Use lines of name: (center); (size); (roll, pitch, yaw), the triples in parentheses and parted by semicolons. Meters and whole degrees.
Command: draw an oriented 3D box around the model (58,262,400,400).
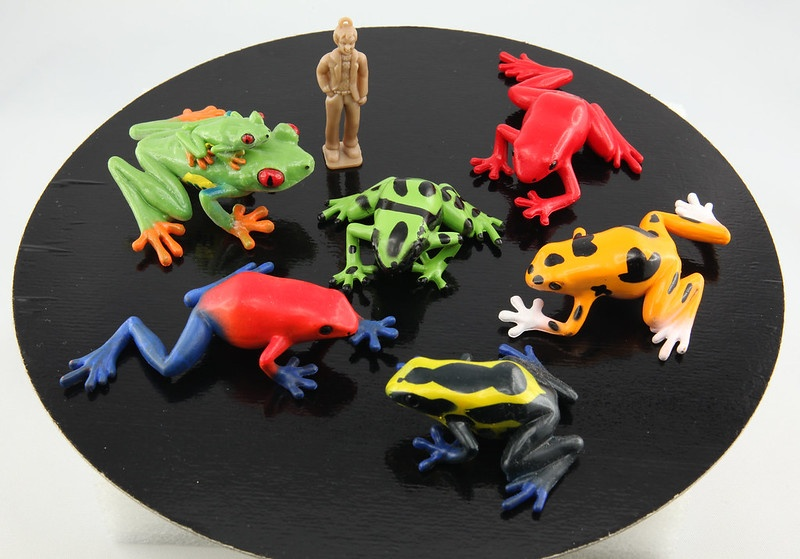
model: (-0.523, 0.139, 3.435); (0.608, 0.152, 0.536); (16, 42, 8)

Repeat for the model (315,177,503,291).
model: (0.054, -0.132, 3.806); (0.749, 0.546, 0.169); (-9, 80, -23)

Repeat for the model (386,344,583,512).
model: (0.244, 0.378, 3.313); (0.596, 0.178, 0.529); (7, 47, 2)

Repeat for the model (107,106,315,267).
model: (-0.609, -0.321, 3.712); (0.657, 0.225, 0.468); (-14, 74, -4)
